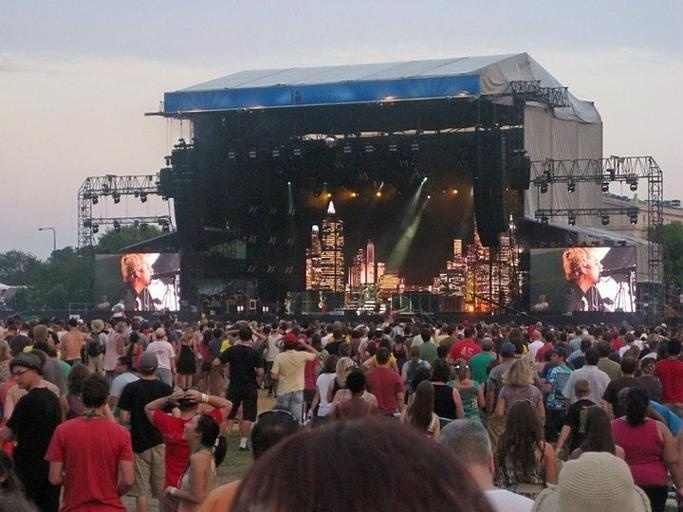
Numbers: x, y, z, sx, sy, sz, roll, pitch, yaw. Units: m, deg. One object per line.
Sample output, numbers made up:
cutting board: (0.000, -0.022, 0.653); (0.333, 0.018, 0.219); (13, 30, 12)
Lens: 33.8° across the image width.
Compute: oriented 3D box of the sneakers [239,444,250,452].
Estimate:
sneakers: (-1.819, 3.559, 20.872); (0.178, 0.120, 0.092); (-2, 2, 3)

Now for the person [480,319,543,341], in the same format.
person: (3.963, 1.740, 26.517); (1.090, 0.261, 1.022); (0, 0, 34)

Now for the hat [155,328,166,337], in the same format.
hat: (-3.678, 1.535, 22.661); (0.200, 0.149, 0.276); (0, -3, -14)

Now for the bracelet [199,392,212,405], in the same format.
bracelet: (-1.914, 1.987, 15.753); (0.143, 0.176, 0.230); (2, -11, -24)

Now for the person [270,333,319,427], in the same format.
person: (-0.890, 2.502, 20.666); (0.882, 2.137, 0.624); (2, 8, -3)

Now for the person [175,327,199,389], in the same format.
person: (-3.349, 2.171, 24.108); (0.401, 1.260, 0.775); (1, -4, -9)

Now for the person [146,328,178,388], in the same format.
person: (-3.693, 2.257, 22.562); (0.716, 1.733, 0.484); (2, 18, -4)

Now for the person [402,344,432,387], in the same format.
person: (1.346, 2.014, 20.633); (0.591, 0.817, 0.658); (2, 24, 10)

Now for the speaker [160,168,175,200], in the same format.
speaker: (-6.874, -2.875, 43.890); (0.514, 1.197, 1.354); (1, -4, -11)

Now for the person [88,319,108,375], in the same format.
person: (-5.200, 1.941, 23.710); (0.482, 1.243, 0.345); (11, 23, 4)

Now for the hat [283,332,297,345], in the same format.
hat: (-0.944, 1.494, 20.451); (0.261, 0.182, 0.350); (0, -4, -5)

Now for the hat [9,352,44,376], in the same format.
hat: (-4.496, 1.524, 16.153); (0.293, 0.201, 0.388); (-7, -21, 18)

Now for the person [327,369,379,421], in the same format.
person: (0.174, 2.074, 17.095); (0.681, 0.709, 1.031); (0, -4, -1)
